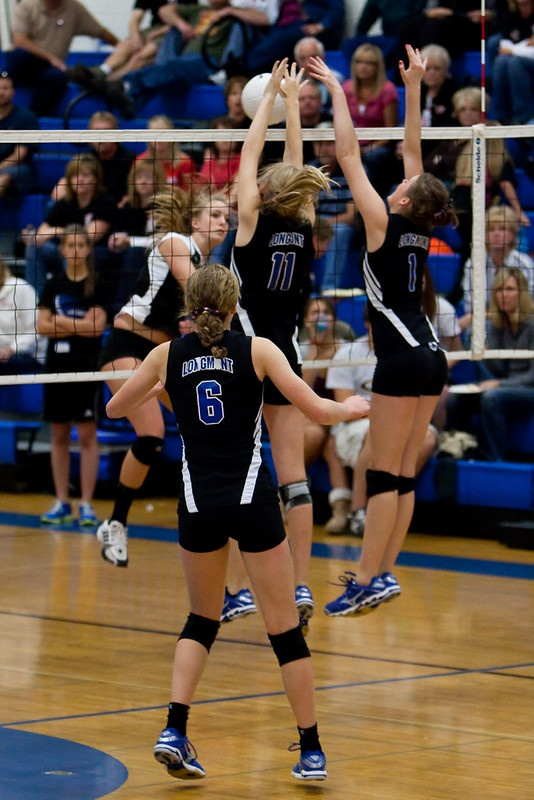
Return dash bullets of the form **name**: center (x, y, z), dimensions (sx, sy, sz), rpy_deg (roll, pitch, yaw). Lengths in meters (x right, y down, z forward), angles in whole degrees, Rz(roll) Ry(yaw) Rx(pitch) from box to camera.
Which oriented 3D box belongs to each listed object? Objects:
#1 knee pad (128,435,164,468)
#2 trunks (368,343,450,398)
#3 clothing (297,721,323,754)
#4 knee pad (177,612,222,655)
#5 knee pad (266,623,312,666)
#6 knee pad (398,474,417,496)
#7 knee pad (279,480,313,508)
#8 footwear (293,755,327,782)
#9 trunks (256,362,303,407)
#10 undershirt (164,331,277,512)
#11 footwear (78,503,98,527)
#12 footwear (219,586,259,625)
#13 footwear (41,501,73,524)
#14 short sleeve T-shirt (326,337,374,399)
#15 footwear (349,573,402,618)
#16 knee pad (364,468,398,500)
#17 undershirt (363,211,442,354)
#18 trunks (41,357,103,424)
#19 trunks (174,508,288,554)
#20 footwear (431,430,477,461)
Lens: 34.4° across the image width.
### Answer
- **knee pad**: center (-0.598, 0.224, 4.320), dimensions (0.153, 0.142, 0.148), rpy_deg (18, 33, -14)
- **trunks**: center (0.534, -0.102, 3.297), dimensions (0.291, 0.210, 0.200), rpy_deg (-8, 19, -23)
- **clothing**: center (0.099, 0.818, 2.100), dimensions (0.045, 0.079, 0.083), rpy_deg (-6, 8, 4)
- **knee pad**: center (-0.164, 0.559, 2.147), dimensions (0.096, 0.092, 0.101), rpy_deg (21, 8, 24)
- **knee pad**: center (0.052, 0.595, 2.126), dimensions (0.100, 0.100, 0.097), rpy_deg (-21, -9, -11)
- **knee pad**: center (0.574, 0.356, 3.582), dimensions (0.093, 0.067, 0.088), rpy_deg (-1, 9, -1)
- **knee pad**: center (0.103, 0.358, 3.295), dimensions (0.098, 0.091, 0.120), rpy_deg (-21, -7, -10)
- **footwear**: center (0.098, 0.872, 2.037), dimensions (0.072, 0.067, 0.061), rpy_deg (0, 10, -6)
- **trunks**: center (0.047, -0.058, 3.170), dimensions (0.159, 0.158, 0.154), rpy_deg (-1, 4, 2)
- **undershirt**: center (-0.114, 0.052, 2.091), dimensions (0.224, 0.418, 0.147), rpy_deg (-2, 4, 17)
- **footwear**: center (-1.325, 0.837, 6.381), dimensions (0.135, 0.159, 0.240), rpy_deg (-2, 10, -14)
- **footwear**: center (-0.132, 0.821, 3.417), dimensions (0.105, 0.130, 0.278), rpy_deg (-17, -8, -33)
- **footwear**: center (-1.553, 0.858, 6.495), dimensions (0.111, 0.162, 0.308), rpy_deg (5, -5, 26)
- **short sleeve T-shirt**: center (0.605, -0.224, 6.186), dimensions (0.176, 0.407, 0.449), rpy_deg (4, -6, -14)
- **footwear**: center (0.406, 0.784, 3.467), dimensions (0.260, 0.116, 0.093), rpy_deg (-33, -19, 33)
- **knee pad**: center (0.435, 0.319, 3.325), dimensions (0.118, 0.093, 0.112), rpy_deg (2, 1, -2)
- **undershirt**: center (0.491, -0.422, 3.216), dimensions (0.284, 0.532, 0.196), rpy_deg (3, 11, 10)
- **trunks**: center (-1.520, -0.175, 6.524), dimensions (0.448, 0.430, 0.482), rpy_deg (-7, -33, -11)
- **trunks**: center (-0.086, 0.307, 2.033), dimensions (0.153, 0.077, 0.055), rpy_deg (0, 24, 12)
- **footwear**: center (1.286, 0.308, 5.954), dimensions (0.248, 0.183, 0.071), rpy_deg (-18, -21, -13)
